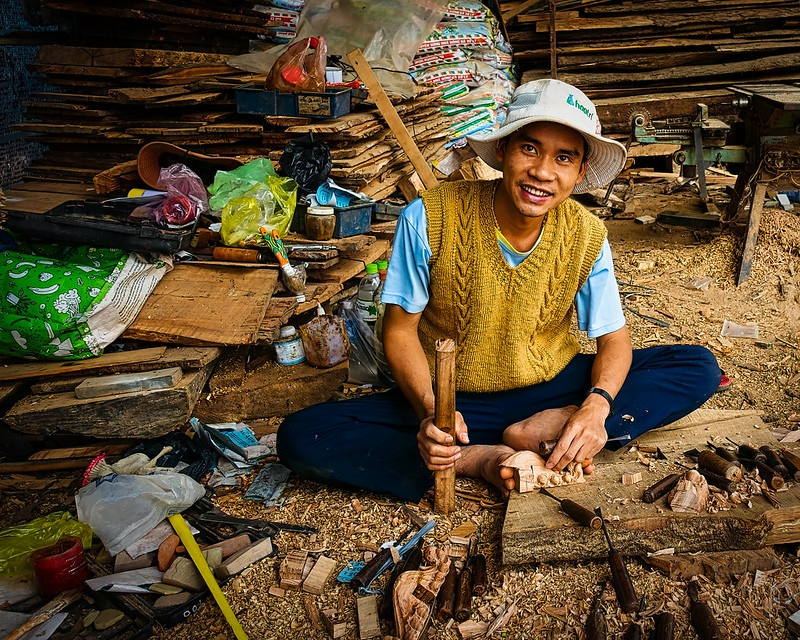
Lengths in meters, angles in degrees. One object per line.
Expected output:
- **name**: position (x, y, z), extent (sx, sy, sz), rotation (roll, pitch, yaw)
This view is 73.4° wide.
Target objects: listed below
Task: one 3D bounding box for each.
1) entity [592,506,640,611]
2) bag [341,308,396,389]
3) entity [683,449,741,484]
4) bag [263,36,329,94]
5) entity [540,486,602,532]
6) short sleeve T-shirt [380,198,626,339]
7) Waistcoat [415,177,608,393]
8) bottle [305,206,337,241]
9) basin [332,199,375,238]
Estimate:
- **entity**: position (0.824, 0.926, 2.163), extent (0.088, 0.077, 0.428), rotation (-24, 51, 6)
- **bag**: position (-0.277, 0.189, 3.737), extent (0.418, 0.451, 0.219), rotation (1, -13, -43)
- **entity**: position (1.424, 0.659, 2.459), extent (0.074, 0.053, 0.210), rotation (12, 2, -25)
- **bag**: position (-0.732, -2.003, 4.227), extent (0.614, 0.463, 0.329), rotation (3, 41, -8)
- **entity**: position (0.706, 0.779, 2.275), extent (0.069, 0.057, 0.316), rotation (-27, 23, -25)
- **short sleeve T-shirt**: position (0.535, -0.287, 2.661), extent (1.214, 0.643, 0.489), rotation (6, 36, 1)
- **Waistcoat**: position (0.501, -0.167, 2.540), extent (1.269, 0.950, 0.565), rotation (2, 34, -5)
- **bottle**: position (-0.597, -0.717, 4.008), extent (0.308, 0.214, 0.266), rotation (1, 5, 3)
- **basin**: position (-0.335, -0.793, 4.219), extent (0.263, 0.181, 0.382), rotation (19, 29, 37)
